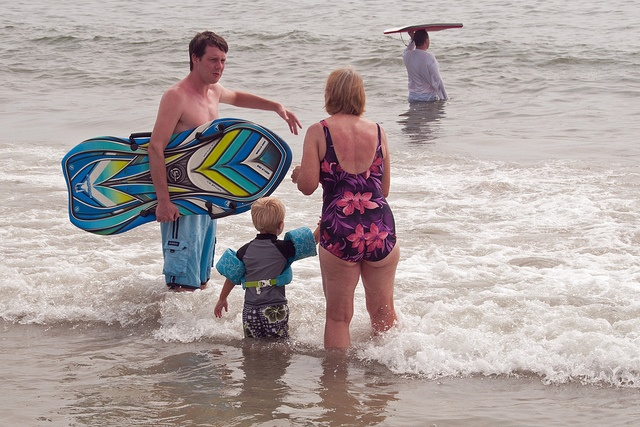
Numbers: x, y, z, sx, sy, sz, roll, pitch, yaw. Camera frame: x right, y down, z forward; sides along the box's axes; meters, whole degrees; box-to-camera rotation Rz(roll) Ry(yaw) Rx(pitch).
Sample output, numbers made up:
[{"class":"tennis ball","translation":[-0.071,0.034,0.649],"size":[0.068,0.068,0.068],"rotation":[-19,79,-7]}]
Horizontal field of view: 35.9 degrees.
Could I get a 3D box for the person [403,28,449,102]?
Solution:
[{"class":"person","translation":[2.248,-3.274,22.065],"size":[0.955,1.654,0.628],"rotation":[10,22,36]}]
